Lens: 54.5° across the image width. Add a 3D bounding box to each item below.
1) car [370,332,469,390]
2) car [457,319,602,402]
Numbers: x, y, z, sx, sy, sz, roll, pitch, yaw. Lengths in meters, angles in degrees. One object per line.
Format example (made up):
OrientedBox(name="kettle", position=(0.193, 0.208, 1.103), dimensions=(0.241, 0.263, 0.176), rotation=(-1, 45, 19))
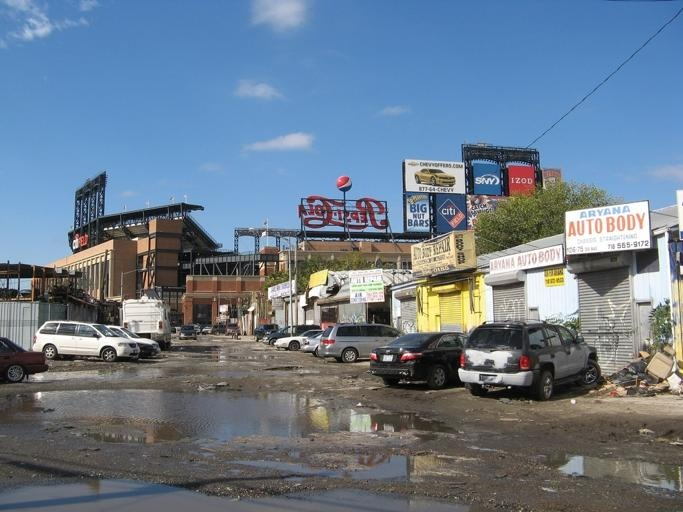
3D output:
OrientedBox(name="car", position=(2.380, 3.105, 19.746), dimensions=(2.962, 0.938, 1.359), rotation=(1, -4, -43))
OrientedBox(name="car", position=(5.083, 2.642, 17.803), dimensions=(1.879, 1.327, 3.306), rotation=(-4, -2, 45))
